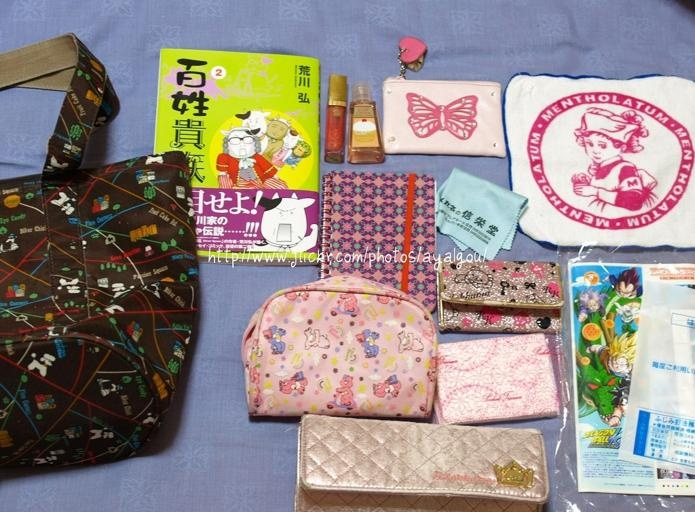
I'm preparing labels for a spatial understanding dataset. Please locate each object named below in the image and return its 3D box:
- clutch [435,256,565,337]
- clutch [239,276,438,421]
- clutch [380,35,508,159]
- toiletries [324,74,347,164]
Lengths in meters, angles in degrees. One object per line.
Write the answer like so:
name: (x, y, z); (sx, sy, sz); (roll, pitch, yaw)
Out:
clutch: (0.348, 0.088, 1.882); (0.283, 0.076, 0.169); (2, 66, 2)
clutch: (-0.007, 0.173, 1.800); (0.396, 0.131, 0.341); (-2, 97, 1)
clutch: (0.230, -0.330, 1.973); (0.293, 0.071, 0.182); (-1, 66, 0)
toiletries: (-0.026, -0.325, 1.948); (0.049, 0.081, 0.201); (2, 66, 2)
